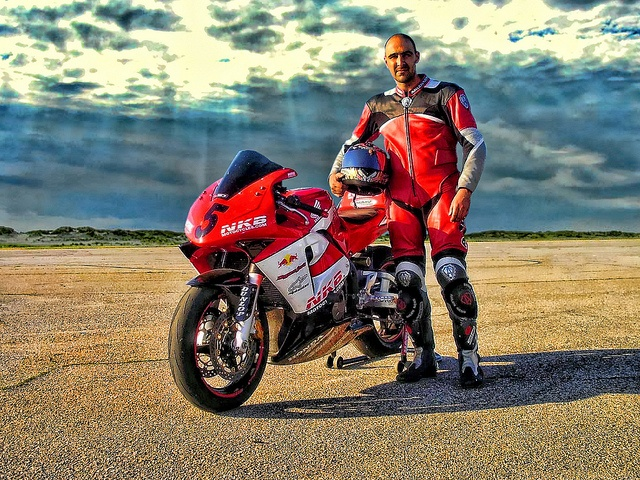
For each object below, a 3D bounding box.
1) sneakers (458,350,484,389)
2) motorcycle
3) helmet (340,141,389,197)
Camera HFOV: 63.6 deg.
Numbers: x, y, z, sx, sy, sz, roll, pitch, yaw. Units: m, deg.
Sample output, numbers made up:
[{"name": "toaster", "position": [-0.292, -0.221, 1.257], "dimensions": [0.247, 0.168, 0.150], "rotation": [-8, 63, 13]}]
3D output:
[{"name": "sneakers", "position": [1.255, 1.072, 4.321], "dimensions": [0.184, 0.252, 0.297], "rotation": [1, 4, 14]}, {"name": "motorcycle", "position": [-0.010, 0.268, 4.510], "dimensions": [0.829, 1.860, 2.959], "rotation": [-6, -2, 38]}, {"name": "helmet", "position": [0.402, -0.659, 4.787], "dimensions": [0.433, 0.483, 0.561], "rotation": [7, -8, 5]}]
